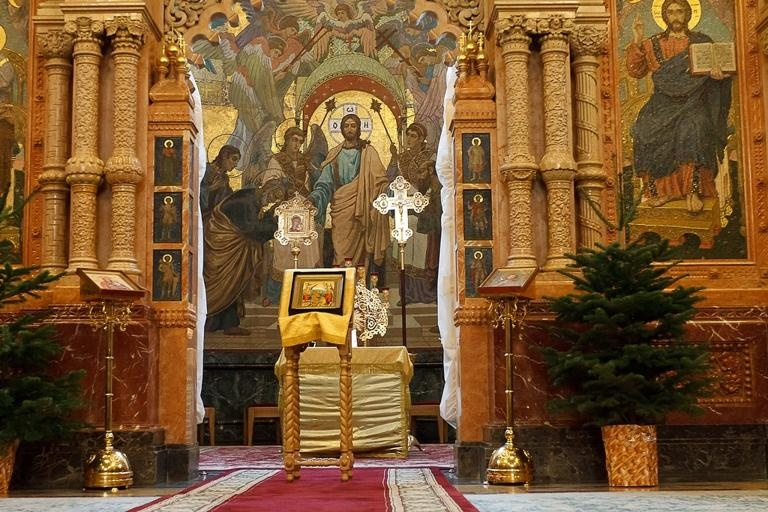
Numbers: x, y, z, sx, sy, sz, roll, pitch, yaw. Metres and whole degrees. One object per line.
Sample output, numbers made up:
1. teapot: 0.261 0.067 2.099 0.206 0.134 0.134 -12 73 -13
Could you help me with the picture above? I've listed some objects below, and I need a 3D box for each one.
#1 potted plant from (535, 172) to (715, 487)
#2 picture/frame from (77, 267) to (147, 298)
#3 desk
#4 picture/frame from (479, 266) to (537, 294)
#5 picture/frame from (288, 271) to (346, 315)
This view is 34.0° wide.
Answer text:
1. potted plant: 2.568 0.738 13.127 1.883 2.913 1.975 2 -2 -6
2. picture/frame: -2.813 0.285 12.706 0.389 0.246 0.524 -2 -11 36
3. desk: -0.475 1.773 15.310 1.544 1.018 1.435 0 -7 1
4. picture/frame: 1.288 0.243 12.788 0.591 0.320 0.410 -3 -11 8
5. picture/frame: -0.674 0.391 12.827 0.546 0.405 0.054 0 -28 5
